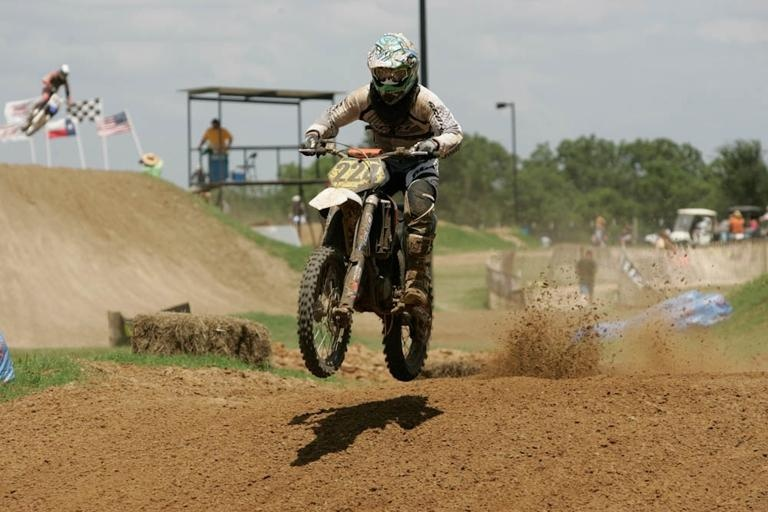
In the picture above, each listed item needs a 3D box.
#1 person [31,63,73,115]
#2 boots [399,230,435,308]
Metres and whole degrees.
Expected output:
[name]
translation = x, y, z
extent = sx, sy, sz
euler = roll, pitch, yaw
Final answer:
[person]
translation = -7.607, -3.812, 41.134
extent = 0.564, 1.297, 0.782
euler = 13, 14, -37
[boots]
translation = 0.703, 0.239, 31.732
extent = 0.690, 1.361, 0.641
euler = -4, 11, -27
